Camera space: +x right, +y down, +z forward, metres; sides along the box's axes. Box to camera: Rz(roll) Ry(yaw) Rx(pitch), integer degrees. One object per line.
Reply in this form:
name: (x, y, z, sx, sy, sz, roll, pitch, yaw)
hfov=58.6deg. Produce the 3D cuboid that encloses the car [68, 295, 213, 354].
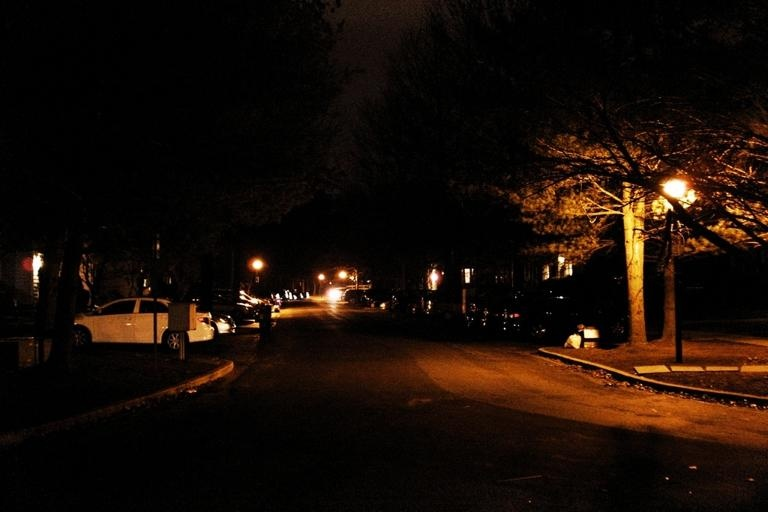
car: (-8.663, 2.283, 23.593, 4.322, 1.841, 3.534, 0, -7, 9)

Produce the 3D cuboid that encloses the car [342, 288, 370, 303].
car: (-3.173, 4.622, 80.490, 1.764, 1.170, 2.731, 0, -4, -17)

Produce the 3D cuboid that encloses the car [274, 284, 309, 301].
car: (-14.149, 4.921, 100.558, 6.206, 3.499, 3.243, 1, -5, -6)

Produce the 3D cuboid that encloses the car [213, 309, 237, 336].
car: (-7.141, 2.960, 30.173, 0.624, 0.778, 2.425, 1, -7, 1)

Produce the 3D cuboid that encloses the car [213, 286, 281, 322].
car: (-8.540, 2.898, 40.283, 4.149, 1.410, 1.904, 0, 1, -7)
